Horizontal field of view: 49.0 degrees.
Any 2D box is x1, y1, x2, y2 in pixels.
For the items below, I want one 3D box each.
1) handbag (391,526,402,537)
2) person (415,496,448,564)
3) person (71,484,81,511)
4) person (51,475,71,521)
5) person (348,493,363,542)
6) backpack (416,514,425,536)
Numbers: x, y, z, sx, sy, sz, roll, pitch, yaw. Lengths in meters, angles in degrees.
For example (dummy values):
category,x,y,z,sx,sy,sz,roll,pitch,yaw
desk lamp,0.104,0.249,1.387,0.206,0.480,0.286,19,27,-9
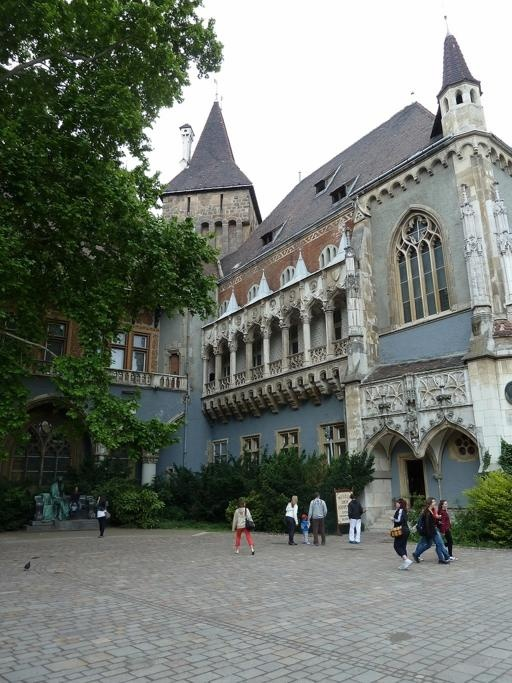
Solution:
category,x,y,z,sx,sy,sz,roll,pitch,yaw
handbag,2.424,3.315,9.708,0.192,0.211,0.229,-4,-12,9
person,3.247,3.568,10.589,0.651,1.211,1.494,-6,-12,16
person,-6.521,5.709,20.235,0.285,0.932,1.193,2,-12,-18
person,-6.946,5.568,19.735,0.509,1.385,0.827,-5,-12,13
person,2.429,4.494,13.951,0.339,1.053,0.593,-4,-12,8
backpack,2.969,3.340,10.171,0.151,0.382,0.384,-5,-12,12
